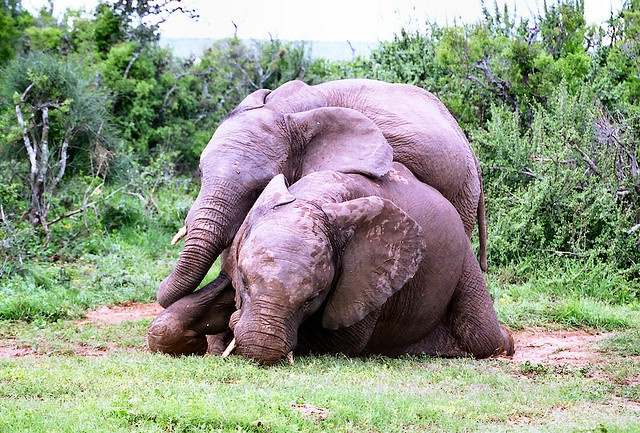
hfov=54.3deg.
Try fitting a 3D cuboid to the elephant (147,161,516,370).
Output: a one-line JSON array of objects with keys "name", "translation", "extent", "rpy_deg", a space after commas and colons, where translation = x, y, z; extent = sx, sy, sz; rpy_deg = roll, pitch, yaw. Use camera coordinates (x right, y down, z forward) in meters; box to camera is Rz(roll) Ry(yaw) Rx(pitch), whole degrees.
[{"name": "elephant", "translation": [0.153, 0.564, 7.064], "extent": [4.061, 2.232, 1.824], "rpy_deg": [-1, 5, -39]}]
